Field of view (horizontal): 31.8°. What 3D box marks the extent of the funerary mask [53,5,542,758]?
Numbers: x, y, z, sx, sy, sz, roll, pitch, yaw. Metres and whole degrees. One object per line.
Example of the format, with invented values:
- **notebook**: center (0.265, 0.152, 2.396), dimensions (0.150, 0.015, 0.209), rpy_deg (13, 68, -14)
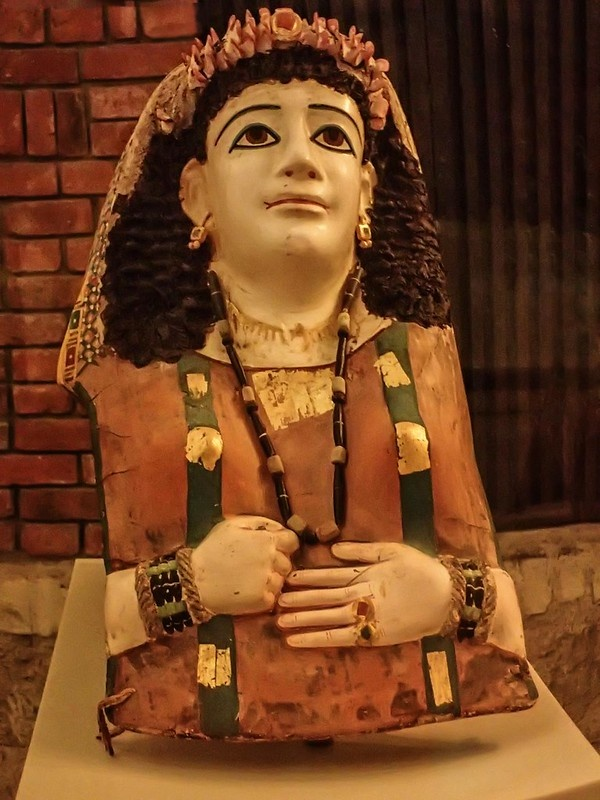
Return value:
- **funerary mask**: center (-0.031, -0.057, 1.621), dimensions (0.660, 1.112, 0.306), rpy_deg (-4, -6, -13)
